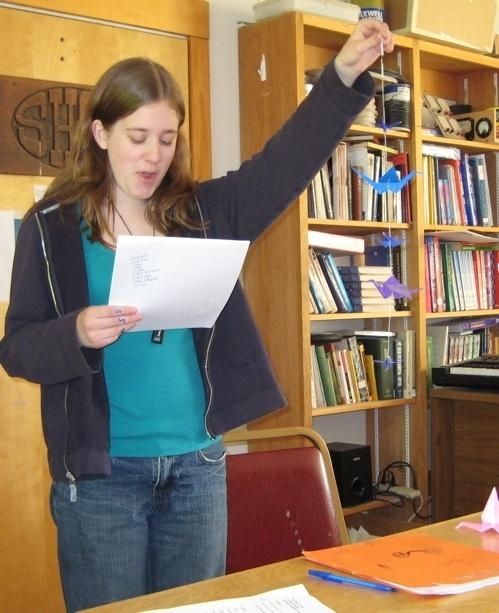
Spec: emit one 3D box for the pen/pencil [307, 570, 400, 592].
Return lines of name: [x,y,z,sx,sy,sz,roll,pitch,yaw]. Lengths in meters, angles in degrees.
pen/pencil: [0.116,0.299,0.610,0.079,0.010,0.009,8,7,15]

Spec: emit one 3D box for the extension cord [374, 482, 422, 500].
extension cord: [0.657,0.834,2.529,0.128,0.029,0.126,1,-5,32]

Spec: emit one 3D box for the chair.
chair: [0.038,0.416,1.283,0.242,0.308,0.270,-6,-8,-15]

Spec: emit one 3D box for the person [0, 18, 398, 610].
person: [-0.093,-0.002,0.960,0.616,0.964,0.333,0,-10,-16]
